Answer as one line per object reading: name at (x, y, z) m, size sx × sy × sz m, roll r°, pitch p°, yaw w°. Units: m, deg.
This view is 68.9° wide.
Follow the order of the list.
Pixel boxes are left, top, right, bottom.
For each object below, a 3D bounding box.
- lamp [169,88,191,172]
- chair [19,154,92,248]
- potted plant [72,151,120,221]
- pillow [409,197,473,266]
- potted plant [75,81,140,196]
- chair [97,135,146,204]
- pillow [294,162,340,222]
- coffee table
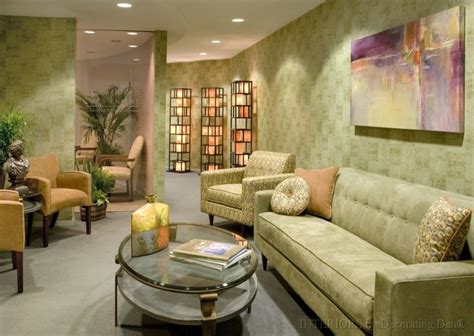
lamp at (-1.635, -1.076, 9.650) m, size 0.682 × 2.311 × 0.599 m, roll 2°, pitch 11°, yaw 7°
chair at (-2.407, 0.387, 4.610) m, size 0.748 × 1.017 × 0.785 m, roll 11°, pitch 9°, yaw 37°
potted plant at (-2.339, 0.275, 5.717) m, size 0.787 × 1.272 × 0.869 m, roll 1°, pitch 6°, yaw 3°
pillow at (1.336, 0.449, 2.325) m, size 0.244 × 0.425 × 0.299 m, roll -2°, pitch 11°, yaw -14°
potted plant at (-2.452, -0.630, 5.980) m, size 1.170 × 1.949 × 1.284 m, roll -3°, pitch 2°, yaw -43°
chair at (-2.042, -0.026, 5.940) m, size 0.728 × 1.103 × 0.647 m, roll 2°, pitch 6°, yaw -21°
pillow at (0.835, 0.279, 3.629) m, size 0.196 × 0.584 × 0.582 m, roll 18°, pitch -13°, yaw -36°
coffee table at (-0.276, 0.829, 2.651) m, size 0.881 × 0.516 × 0.845 m, roll 8°, pitch 12°, yaw 33°
